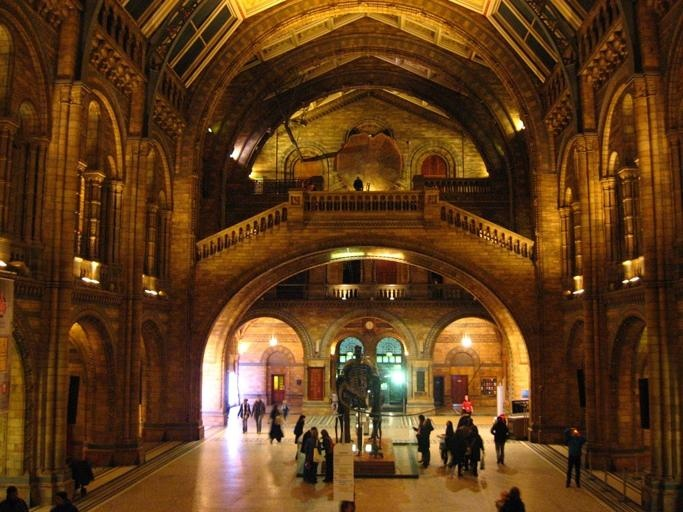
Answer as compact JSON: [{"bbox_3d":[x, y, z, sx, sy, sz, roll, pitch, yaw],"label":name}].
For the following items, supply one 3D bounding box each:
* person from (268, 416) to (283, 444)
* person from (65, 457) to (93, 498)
[{"bbox_3d":[-2.481,6.648,28.123,0.515,0.977,0.923,1,-13,-5],"label":"person"},{"bbox_3d":[-7.401,6.342,20.915,0.573,0.997,0.711,0,-13,1],"label":"person"}]
